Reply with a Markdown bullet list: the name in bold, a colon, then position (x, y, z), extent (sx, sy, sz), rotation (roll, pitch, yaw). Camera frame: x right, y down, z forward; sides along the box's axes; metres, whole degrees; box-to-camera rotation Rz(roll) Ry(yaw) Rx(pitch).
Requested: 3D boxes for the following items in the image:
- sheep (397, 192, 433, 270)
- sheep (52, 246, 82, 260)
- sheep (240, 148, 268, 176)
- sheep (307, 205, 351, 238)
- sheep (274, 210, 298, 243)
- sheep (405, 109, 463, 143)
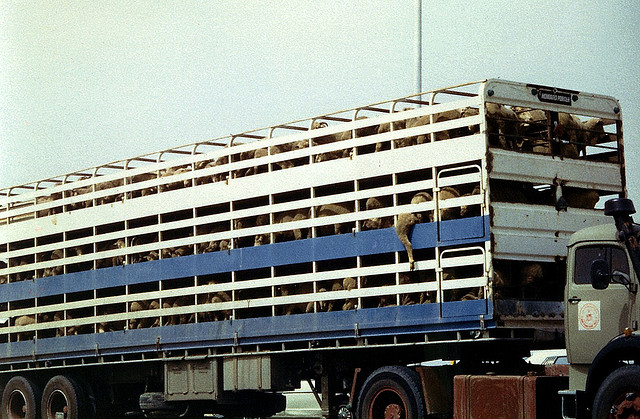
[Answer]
- **sheep**: position (1.958, 0.407, 31.303), extent (0.808, 1.588, 0.652), rotation (16, 7, 26)
- **sheep**: position (-6.359, 1.057, 36.699), extent (0.859, 0.306, 0.294), rotation (-14, -11, 18)
- **sheep**: position (-1.500, -1.126, 33.470), extent (0.713, 0.404, 0.511), rotation (-5, 6, -22)
- **sheep**: position (0.181, 0.222, 32.181), extent (0.699, 0.599, 0.269), rotation (8, 14, 26)
- **sheep**: position (-0.736, 0.338, 32.931), extent (0.469, 0.689, 0.230), rotation (8, 22, 13)
- **sheep**: position (2.426, -1.788, 31.156), extent (1.046, 0.239, 0.628), rotation (-14, -6, 44)
